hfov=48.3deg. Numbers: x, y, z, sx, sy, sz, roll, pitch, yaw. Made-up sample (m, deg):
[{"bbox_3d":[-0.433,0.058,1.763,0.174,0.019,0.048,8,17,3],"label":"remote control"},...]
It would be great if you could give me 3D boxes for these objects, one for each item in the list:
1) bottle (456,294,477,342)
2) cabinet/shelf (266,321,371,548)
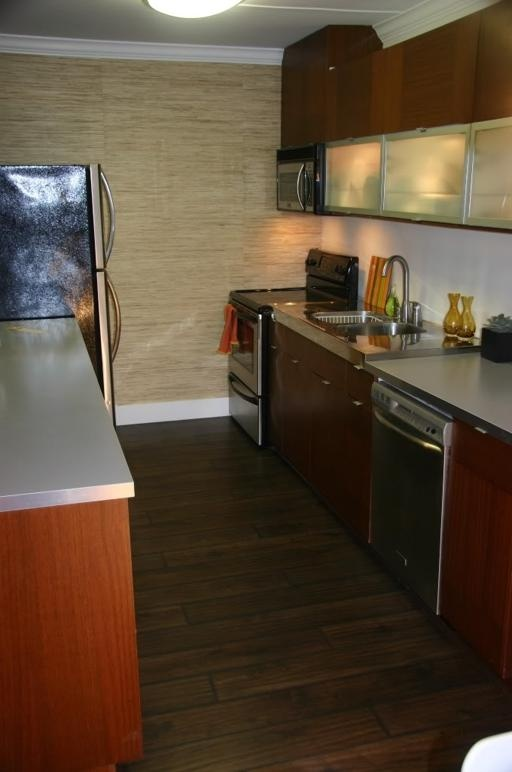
[{"bbox_3d":[1.005,-0.319,2.715,0.081,0.208,0.231,2,12,20],"label":"bottle"},{"bbox_3d":[0.348,0.273,3.056,0.513,0.639,0.934,-5,21,-20],"label":"cabinet/shelf"}]
